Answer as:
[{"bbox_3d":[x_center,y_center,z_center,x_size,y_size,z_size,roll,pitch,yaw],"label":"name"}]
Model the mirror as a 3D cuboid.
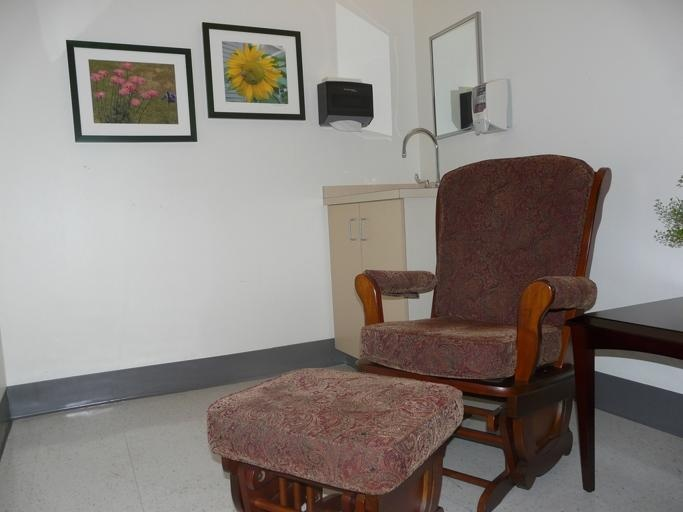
[{"bbox_3d":[0.777,-1.213,3.479,0.107,0.756,0.535,-7,11,-21],"label":"mirror"}]
